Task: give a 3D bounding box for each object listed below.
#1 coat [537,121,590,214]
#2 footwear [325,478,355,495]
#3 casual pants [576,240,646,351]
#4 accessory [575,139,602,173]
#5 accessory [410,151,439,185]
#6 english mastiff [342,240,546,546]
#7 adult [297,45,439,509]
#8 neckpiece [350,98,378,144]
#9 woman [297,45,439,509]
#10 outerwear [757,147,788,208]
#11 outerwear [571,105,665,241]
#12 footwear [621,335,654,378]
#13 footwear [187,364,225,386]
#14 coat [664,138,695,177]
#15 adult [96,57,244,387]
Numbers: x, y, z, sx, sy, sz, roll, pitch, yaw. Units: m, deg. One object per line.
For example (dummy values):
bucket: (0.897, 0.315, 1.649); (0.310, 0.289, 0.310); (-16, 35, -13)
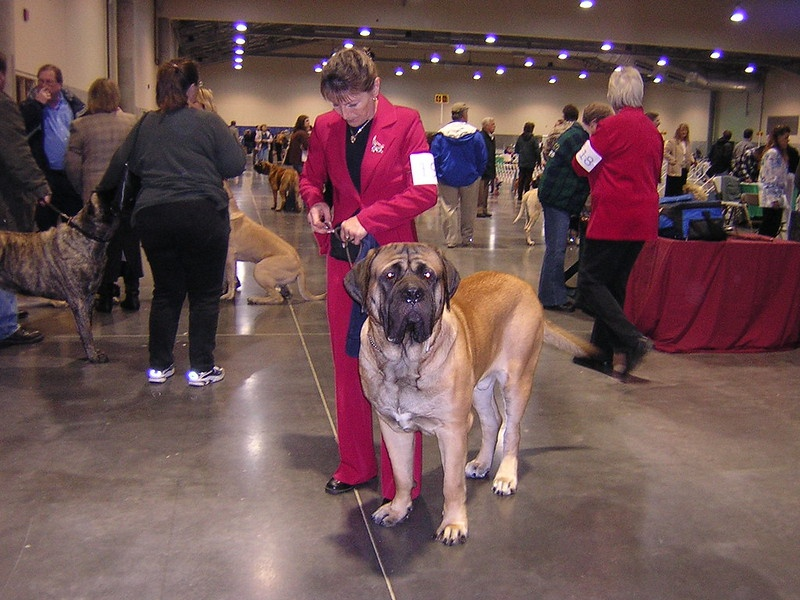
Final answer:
coat: (1.928, -1.663, 7.561); (0.764, 1.188, 0.725); (-4, 7, 0)
footwear: (-0.377, 1.107, 3.613); (0.132, 0.060, 0.083); (9, -7, -12)
casual pants: (2.011, -0.159, 5.596); (0.535, 1.426, 0.511); (0, -8, 41)
accessory: (1.665, -1.278, 5.367); (0.230, 0.251, 0.245); (-5, 25, -28)
accessory: (0.143, -0.709, 3.258); (0.117, 0.177, 0.196); (10, 14, 38)
english mastiff: (0.261, 0.435, 3.378); (0.558, 1.566, 1.173); (9, 14, 37)
adult: (-0.215, -0.013, 3.533); (0.816, 2.835, 0.746); (7, 18, 24)
neckpiece: (-0.205, -0.969, 3.227); (0.163, 0.258, 0.195); (0, 11, -5)
woman: (-0.214, -0.005, 3.536); (0.756, 2.798, 0.767); (3, 16, 11)
outerwear: (7.096, -2.346, 11.433); (0.578, 1.191, 1.045); (8, 19, 44)
outerwear: (1.950, -1.126, 5.409); (0.781, 1.160, 0.450); (3, 12, 14)
footwear: (2.140, 0.511, 5.485); (0.109, 0.343, 0.145); (17, 20, -34)
footwear: (-1.653, 0.645, 5.158); (0.120, 0.150, 0.303); (8, 16, 37)
coat: (6.215, -3.195, 13.447); (0.768, 0.835, 0.442); (-6, 17, -17)
adult: (-1.956, -0.634, 5.040); (1.175, 2.590, 0.990); (3, 6, -2)
